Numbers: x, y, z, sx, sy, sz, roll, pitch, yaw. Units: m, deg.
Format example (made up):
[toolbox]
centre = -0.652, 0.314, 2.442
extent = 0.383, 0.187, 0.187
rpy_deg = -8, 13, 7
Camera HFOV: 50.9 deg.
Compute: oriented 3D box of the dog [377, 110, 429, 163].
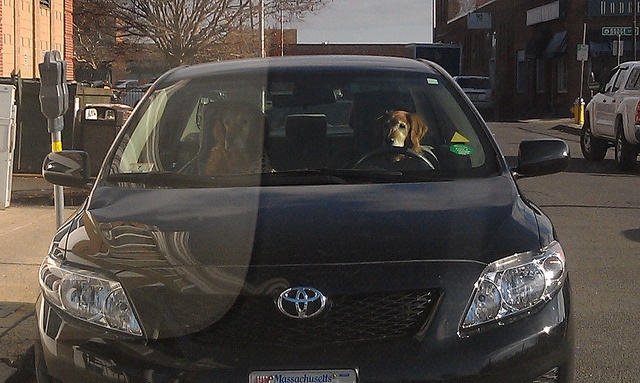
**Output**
[dog]
centre = 0.653, -0.490, 5.415
extent = 0.355, 0.423, 0.376
rpy_deg = -3, 10, 13
